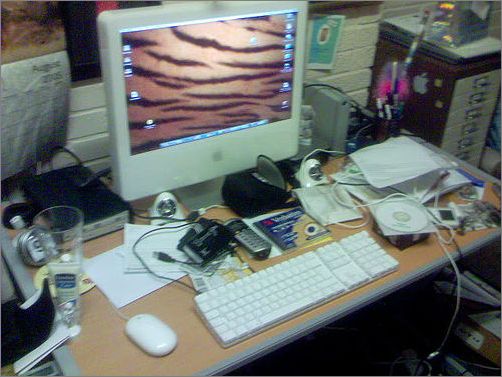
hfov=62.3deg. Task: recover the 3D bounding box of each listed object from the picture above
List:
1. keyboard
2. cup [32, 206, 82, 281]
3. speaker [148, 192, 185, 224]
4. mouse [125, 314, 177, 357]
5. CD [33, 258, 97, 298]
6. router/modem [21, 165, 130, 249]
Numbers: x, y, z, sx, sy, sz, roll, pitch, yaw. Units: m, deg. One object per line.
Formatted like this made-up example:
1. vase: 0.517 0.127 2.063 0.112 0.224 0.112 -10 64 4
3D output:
1. keyboard: 0.129 0.237 1.085 0.553 0.058 0.141 -17 64 -27
2. cup: -0.468 0.150 1.072 0.117 0.187 0.116 2 31 -1
3. speaker: -0.270 0.049 1.272 0.137 0.084 0.125 -1 22 -18
4. mouse: -0.228 0.334 0.948 0.077 0.050 0.118 -30 42 -33
5. CD: -0.483 0.229 1.098 0.138 0.067 0.117 -17 29 -39
6. router/modem: -0.492 0.059 1.164 0.290 0.120 0.320 -17 31 -35
